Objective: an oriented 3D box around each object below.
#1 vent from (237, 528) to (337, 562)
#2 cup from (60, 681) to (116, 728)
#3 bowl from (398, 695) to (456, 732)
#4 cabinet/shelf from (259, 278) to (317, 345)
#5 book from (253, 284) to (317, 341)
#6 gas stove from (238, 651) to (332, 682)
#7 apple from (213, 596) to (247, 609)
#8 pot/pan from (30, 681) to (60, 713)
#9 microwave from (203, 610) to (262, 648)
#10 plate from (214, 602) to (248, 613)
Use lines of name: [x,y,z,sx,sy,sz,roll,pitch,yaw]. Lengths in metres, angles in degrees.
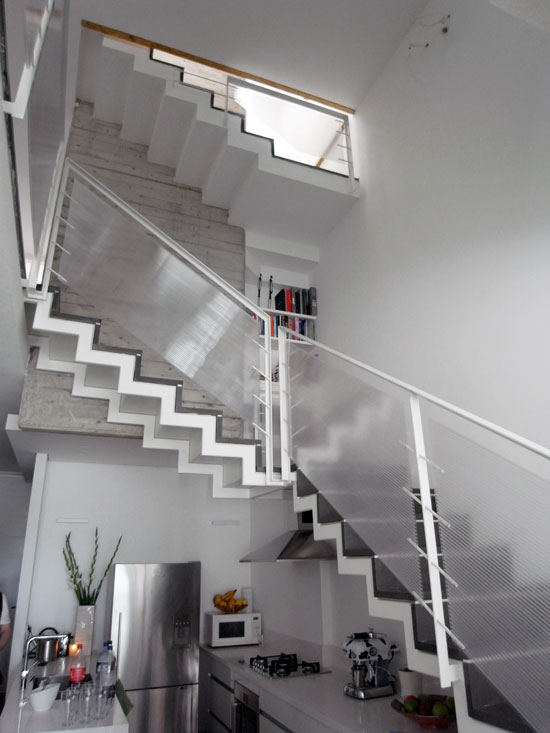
vent: [0.146,1.403,4.357,0.402,0.238,0.951,7,-19,-22]
cup: [-0.933,1.695,2.793,0.224,0.218,0.272,1,-3,-30]
bowl: [0.728,1.674,2.714,0.272,0.126,0.415,-2,-17,6]
cabinet/shelf: [0.124,-0.592,5.440,0.224,0.562,0.715,-4,-5,-5]
book: [0.107,-0.561,5.448,0.545,0.671,0.413,13,-21,-38]
gas stove: [0.107,2.154,4.037,0.507,0.114,0.568,5,-18,-18]
apple: [-0.423,2.248,5.259,0.167,0.073,0.173,12,-18,-20]
pot/pan: [-1.214,1.767,2.982,0.137,0.126,0.131,0,-19,7]
microwave: [-0.338,2.438,5.148,0.564,0.298,0.137,9,-19,-29]
plate: [-0.423,2.283,5.270,0.138,0.037,0.153,4,-7,-22]
